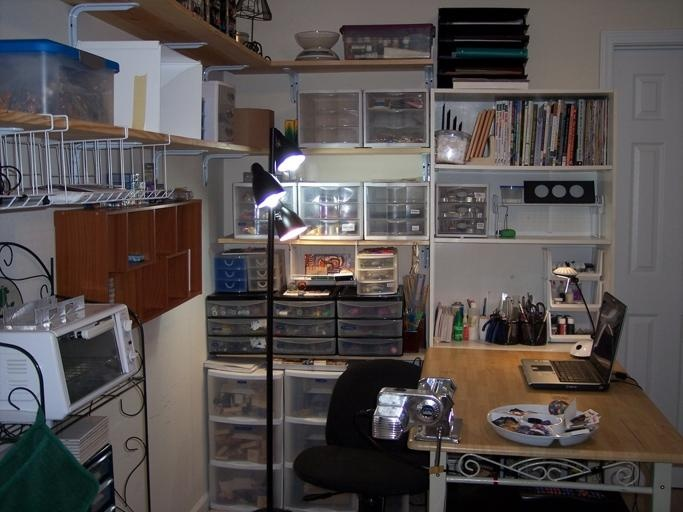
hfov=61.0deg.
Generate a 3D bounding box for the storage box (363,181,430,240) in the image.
[{"bbox_3d":[0.359,-0.280,3.846,0.575,0.468,0.322,0,9,3],"label":"storage box"}]

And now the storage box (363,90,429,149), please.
[{"bbox_3d":[0.349,-0.861,3.622,0.369,0.298,0.120,0,6,3],"label":"storage box"}]

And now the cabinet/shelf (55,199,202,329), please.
[{"bbox_3d":[-0.948,0.023,2.720,0.290,0.542,0.846,6,9,15],"label":"cabinet/shelf"}]

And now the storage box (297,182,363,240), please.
[{"bbox_3d":[-0.062,-0.292,3.687,0.374,0.301,0.128,0,2,4],"label":"storage box"}]

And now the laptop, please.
[{"bbox_3d":[1.176,0.462,3.019,0.465,0.415,0.603,-1,0,10],"label":"laptop"}]
